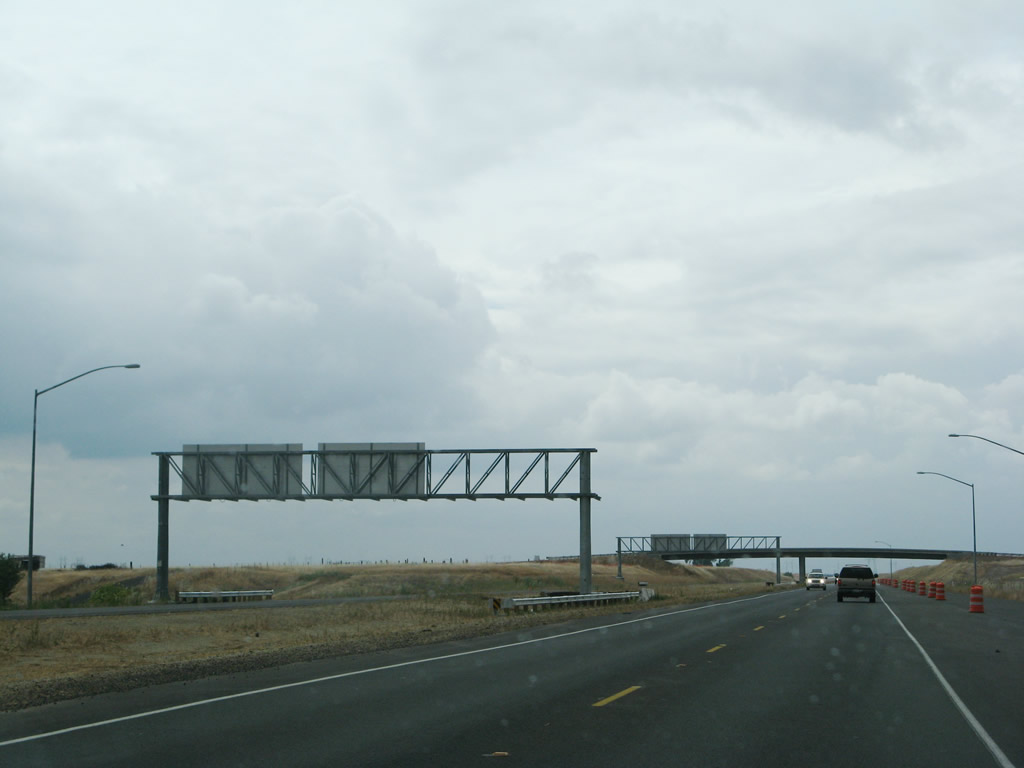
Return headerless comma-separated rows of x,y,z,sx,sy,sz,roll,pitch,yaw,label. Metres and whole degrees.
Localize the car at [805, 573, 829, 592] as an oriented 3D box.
24.739,16.268,120.483,1.779,1.698,3.278,-2,-16,8,car
